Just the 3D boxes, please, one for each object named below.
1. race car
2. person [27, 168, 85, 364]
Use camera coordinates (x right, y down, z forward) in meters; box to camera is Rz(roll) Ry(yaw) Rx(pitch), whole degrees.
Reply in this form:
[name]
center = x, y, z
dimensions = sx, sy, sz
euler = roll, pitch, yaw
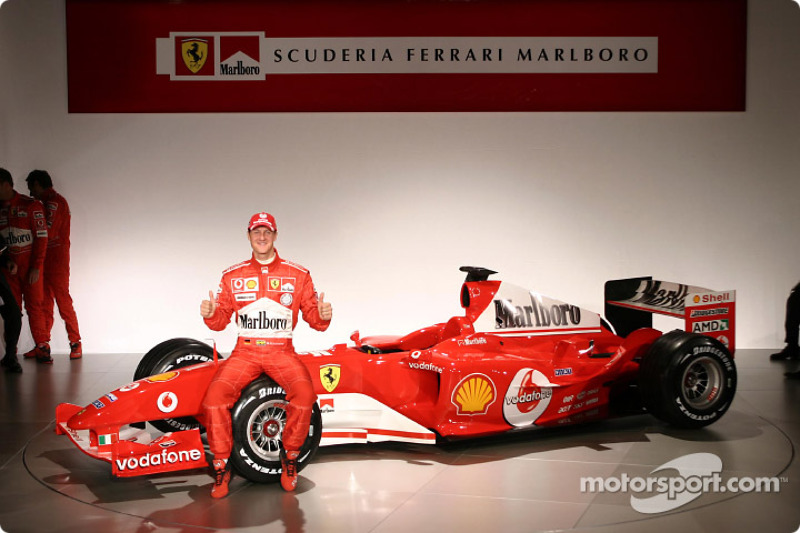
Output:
[race car]
center = 0.349, 0.844, 4.671
dimensions = 5.441, 1.521, 2.143
euler = 0, 0, -21
[person]
center = -4.184, -0.052, 7.184
dimensions = 1.343, 2.321, 0.383
euler = 0, 1, 16
